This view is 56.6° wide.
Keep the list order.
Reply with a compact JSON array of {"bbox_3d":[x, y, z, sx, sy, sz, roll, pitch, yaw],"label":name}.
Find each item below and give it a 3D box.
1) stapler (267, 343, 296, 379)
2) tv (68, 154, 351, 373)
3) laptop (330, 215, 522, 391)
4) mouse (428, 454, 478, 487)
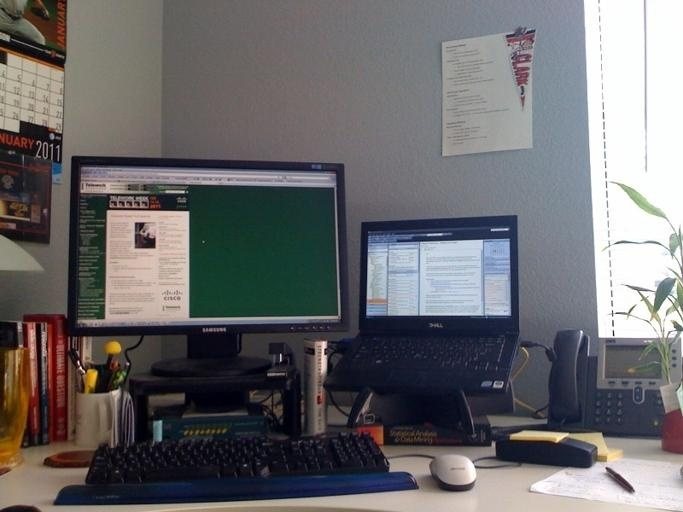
[{"bbox_3d":[-0.149,0.261,1.635,0.073,0.085,0.150,-2,0,-5],"label":"stapler"},{"bbox_3d":[-0.350,0.012,1.687,0.603,0.435,0.179,0,-9,-7],"label":"tv"},{"bbox_3d":[0.239,0.117,1.810,0.543,0.540,0.436,-1,-1,18],"label":"laptop"},{"bbox_3d":[0.246,0.442,1.345,0.092,0.051,0.151,-1,3,13],"label":"mouse"}]
